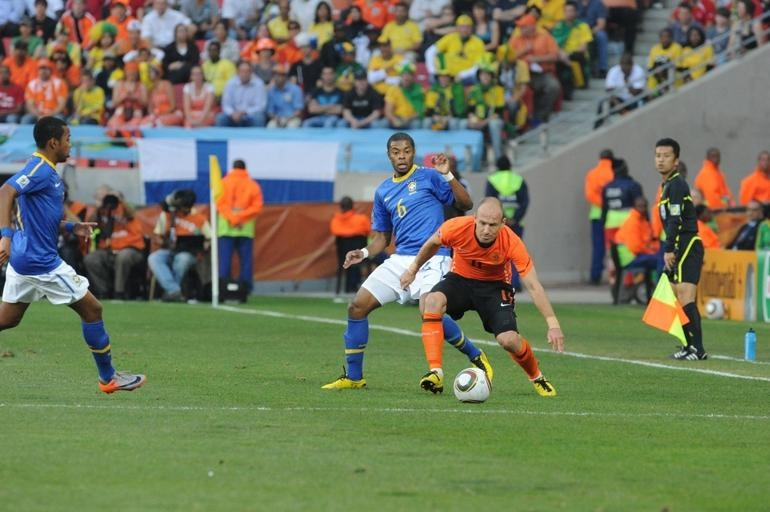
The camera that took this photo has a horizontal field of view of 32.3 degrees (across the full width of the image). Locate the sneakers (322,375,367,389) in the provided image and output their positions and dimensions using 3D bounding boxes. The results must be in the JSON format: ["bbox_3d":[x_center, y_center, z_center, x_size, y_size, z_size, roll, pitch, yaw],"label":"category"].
[{"bbox_3d":[-0.502,1.542,15.738,0.539,0.198,0.181,2,-3,-5],"label":"sneakers"}]

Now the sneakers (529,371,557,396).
[{"bbox_3d":[1.847,1.561,15.434,0.283,0.254,0.284,1,1,6],"label":"sneakers"}]

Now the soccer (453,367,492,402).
[{"bbox_3d":[0.944,1.511,15.040,0.387,0.382,0.387,-8,-23,26],"label":"soccer"}]

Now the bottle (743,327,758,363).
[{"bbox_3d":[4.841,1.207,17.583,0.157,0.443,0.625,1,1,15],"label":"bottle"}]

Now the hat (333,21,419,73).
[{"bbox_3d":[0.026,-4.710,28.543,1.294,0.558,0.958,-13,17,-8],"label":"hat"}]

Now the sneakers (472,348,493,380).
[{"bbox_3d":[1.146,1.355,15.846,0.146,0.396,0.169,-32,-1,14],"label":"sneakers"}]

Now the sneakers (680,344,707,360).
[{"bbox_3d":[4.055,1.340,17.525,0.388,0.165,0.133,4,2,8],"label":"sneakers"}]

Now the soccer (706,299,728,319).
[{"bbox_3d":[5.450,0.919,22.021,0.305,0.352,0.298,-17,33,4],"label":"soccer"}]

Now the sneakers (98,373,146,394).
[{"bbox_3d":[-2.981,1.480,15.052,0.478,0.232,0.232,-13,13,1],"label":"sneakers"}]

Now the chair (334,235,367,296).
[{"bbox_3d":[-0.652,0.183,24.752,0.599,1.163,1.298,1,1,-2],"label":"chair"}]

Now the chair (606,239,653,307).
[{"bbox_3d":[4.444,0.316,23.727,0.992,1.426,0.996,-1,1,8],"label":"chair"}]
